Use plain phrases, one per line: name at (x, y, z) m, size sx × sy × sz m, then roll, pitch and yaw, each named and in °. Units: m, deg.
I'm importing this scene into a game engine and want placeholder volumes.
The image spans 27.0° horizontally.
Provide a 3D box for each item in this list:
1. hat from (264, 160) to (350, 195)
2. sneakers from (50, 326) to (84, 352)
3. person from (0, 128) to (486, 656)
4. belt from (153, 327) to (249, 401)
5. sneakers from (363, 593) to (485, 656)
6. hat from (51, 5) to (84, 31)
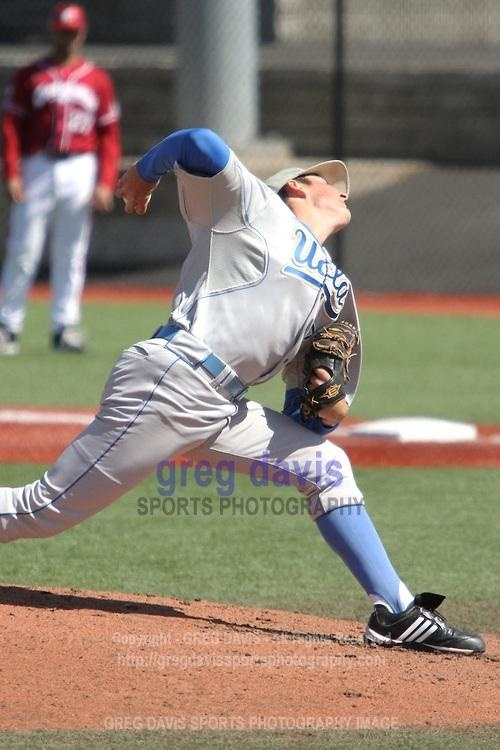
hat at (0.137, -0.479, 2.423) m, size 0.168 × 0.045 × 0.099 m, roll -12°, pitch -23°, yaw 5°
sneakers at (-1.108, -0.210, 6.371) m, size 0.195 × 0.130 × 0.211 m, roll -3°, pitch -13°, yaw 38°
person at (-0.016, 0.025, 2.280) m, size 1.027 × 1.063 × 0.423 m, roll 2°, pitch 7°, yaw -2°
belt at (-0.115, -0.041, 2.122) m, size 0.176 × 0.047 × 0.142 m, roll 28°, pitch -11°, yaw 39°
sneakers at (0.352, 0.535, 2.237) m, size 0.328 × 0.139 × 0.102 m, roll 6°, pitch -12°, yaw -7°
hat at (-0.958, -1.897, 5.505) m, size 0.153 × 0.176 × 0.262 m, roll 1°, pitch 7°, yaw -5°
